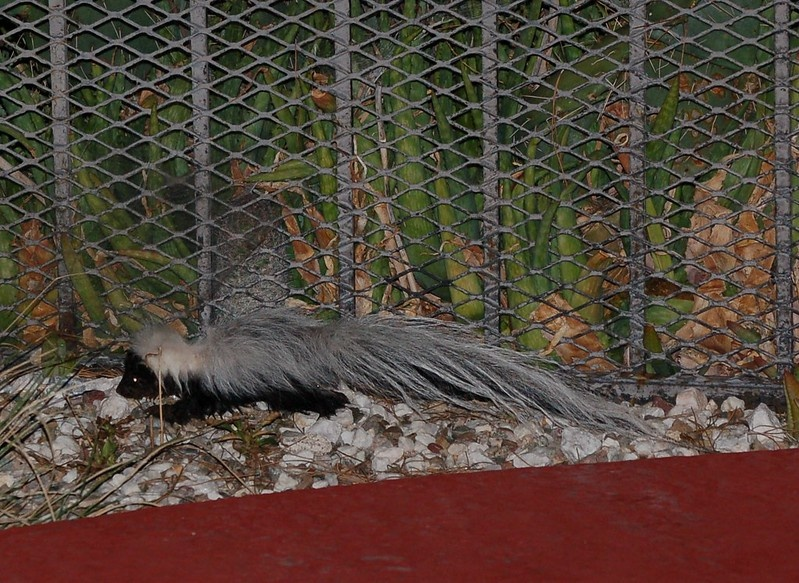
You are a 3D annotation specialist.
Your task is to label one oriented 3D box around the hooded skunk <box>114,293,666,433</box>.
[{"bbox_3d":[0.024,0.257,4.313,1.469,0.286,0.271,3,51,-2],"label":"hooded skunk"}]
